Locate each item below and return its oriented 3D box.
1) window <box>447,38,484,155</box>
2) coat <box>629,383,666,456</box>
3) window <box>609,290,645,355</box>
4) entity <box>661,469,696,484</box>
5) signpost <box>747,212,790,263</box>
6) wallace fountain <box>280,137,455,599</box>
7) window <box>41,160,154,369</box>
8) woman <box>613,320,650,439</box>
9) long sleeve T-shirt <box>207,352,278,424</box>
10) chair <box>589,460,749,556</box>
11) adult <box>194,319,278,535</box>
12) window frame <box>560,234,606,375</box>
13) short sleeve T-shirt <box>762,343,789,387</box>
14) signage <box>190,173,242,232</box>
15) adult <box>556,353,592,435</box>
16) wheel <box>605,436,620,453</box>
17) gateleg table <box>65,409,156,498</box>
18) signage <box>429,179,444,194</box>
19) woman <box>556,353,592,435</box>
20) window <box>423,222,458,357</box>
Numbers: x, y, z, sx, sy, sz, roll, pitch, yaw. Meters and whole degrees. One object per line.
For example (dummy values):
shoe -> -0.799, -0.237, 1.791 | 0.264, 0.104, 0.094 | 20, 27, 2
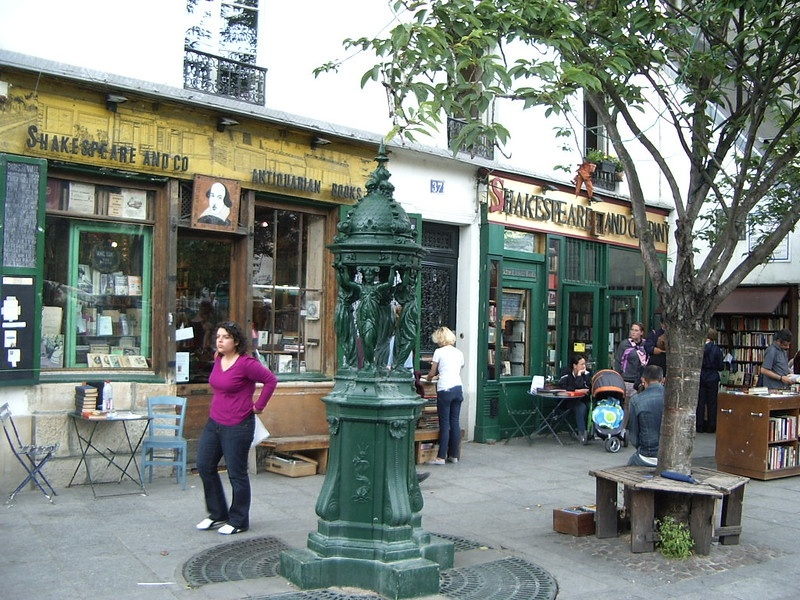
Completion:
window -> 0.902, -2.610, 10.663 | 0.357, 1.390, 0.447 | -10, 22, -18
coat -> 2.956, 1.457, 9.630 | 0.365, 0.854, 0.413 | 3, 3, 16
window -> 4.890, 0.445, 17.647 | 0.802, 0.169, 1.535 | -7, 37, 22
entity -> 3.080, 1.946, 8.730 | 0.415, 0.108, 0.236 | 2, 2, -3
signpost -> 8.287, -1.279, 17.932 | 0.904, 0.056, 1.121 | 9, 49, 10
wallace fountain -> -0.240, 0.620, 7.761 | 1.359, 4.257, 0.962 | 2, 3, 2
window -> -4.080, -0.297, 11.062 | 1.500, 2.929, 0.148 | 3, 15, -5
woman -> 4.513, 1.613, 15.407 | 0.704, 2.296, 0.699 | 4, 0, -9
long sleeve T-shirt -> -1.904, 1.001, 9.115 | 0.974, 0.815, 0.471 | 0, -2, 42
chair -> 3.058, 2.263, 8.904 | 1.206, 0.616, 1.056 | 3, -7, -26
adult -> -1.831, 1.445, 9.048 | 0.939, 2.329, 0.677 | 0, -2, 31
window frame -> 3.983, 0.332, 16.781 | 1.098, 2.861, 0.407 | 1, 7, 29
short sleeve T-shirt -> 6.312, 1.129, 13.449 | 0.389, 0.807, 0.689 | -2, -4, 37
signage -> -2.716, -1.414, 11.629 | 0.794, 0.848, 0.159 | 4, -3, -40
adult -> 3.344, 1.820, 15.256 | 0.617, 1.568, 0.822 | -7, 18, 9
wheel -> 3.831, 2.604, 14.350 | 0.264, 0.312, 0.213 | 5, -3, 0
gateleg table -> -3.758, 1.960, 10.457 | 1.066, 1.019, 1.027 | 1, 3, -29
signage -> 0.641, -2.025, 14.426 | 0.037, 0.214, 0.288 | 3, 3, 45
woman -> 3.340, 1.807, 15.249 | 0.627, 1.567, 0.830 | -8, 20, 7
window -> 0.667, -0.070, 15.017 | 0.921, 2.555, 0.118 | 4, 18, 18
